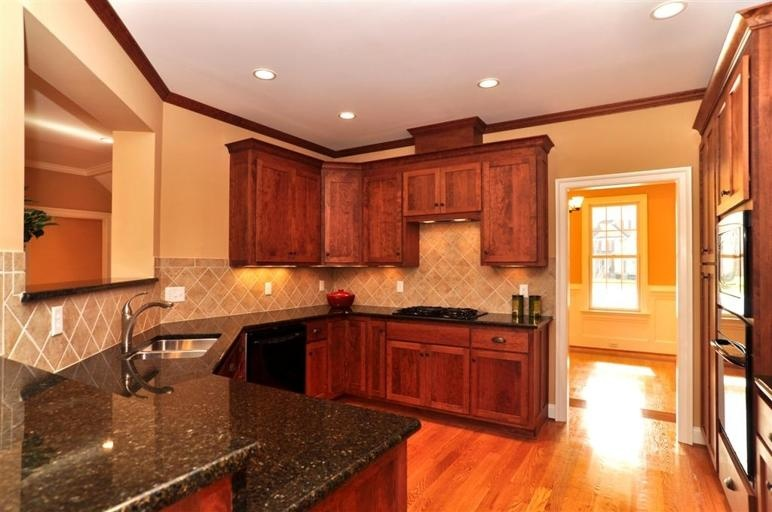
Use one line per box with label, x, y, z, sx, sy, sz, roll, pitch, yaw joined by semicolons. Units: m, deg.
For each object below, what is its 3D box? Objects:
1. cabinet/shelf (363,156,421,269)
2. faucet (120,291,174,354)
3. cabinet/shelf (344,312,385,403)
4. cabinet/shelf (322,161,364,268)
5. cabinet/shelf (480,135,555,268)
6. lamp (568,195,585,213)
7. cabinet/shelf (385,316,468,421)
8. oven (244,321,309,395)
cabinet/shelf;0.058;-0.396;5.635;0.535;1.071;0.374;-4;-7;38
faucet;-1.699;0.465;3.588;0.285;0.371;0.424;-6;10;-34
cabinet/shelf;-0.212;1.032;5.269;0.486;0.778;0.165;5;10;34
cabinet/shelf;-0.508;-0.443;5.605;0.490;1.048;0.146;-1;2;-35
cabinet/shelf;1.224;-0.468;4.976;0.768;1.169;0.388;-2;-3;33
lamp;2.541;-0.695;6.999;0.139;0.196;0.636;2;8;17
cabinet/shelf;0.497;1.064;5.108;1.003;0.845;0.378;-1;-4;39
oven;-0.999;1.012;4.610;0.531;0.310;0.852;1;22;-12
